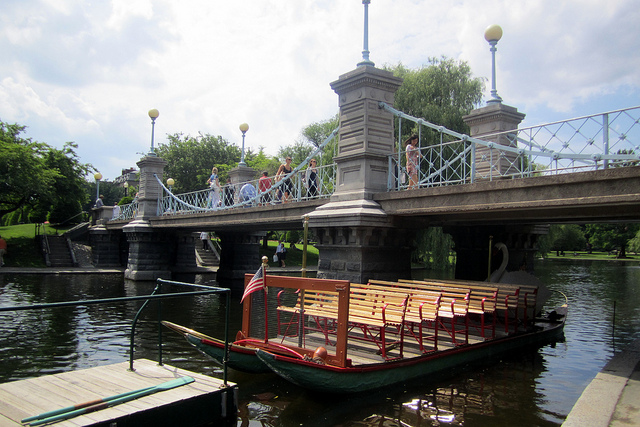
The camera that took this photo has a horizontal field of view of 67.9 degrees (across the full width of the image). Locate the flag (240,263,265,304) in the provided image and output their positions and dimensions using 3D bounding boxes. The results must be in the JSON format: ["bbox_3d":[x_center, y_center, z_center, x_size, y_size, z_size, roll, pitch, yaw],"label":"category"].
[{"bbox_3d":[-1.481,1.533,10.613,0.397,0.842,0.669,4,-4,-14],"label":"flag"}]

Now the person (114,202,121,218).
[{"bbox_3d":[-14.333,-0.112,33.574,0.348,0.869,1.011,5,-4,-27],"label":"person"}]

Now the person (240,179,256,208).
[{"bbox_3d":[-3.099,-0.794,19.604,0.856,1.219,0.550,1,0,33],"label":"person"}]

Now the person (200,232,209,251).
[{"bbox_3d":[-9.028,2.273,37.305,0.604,1.378,1.213,4,-4,-14],"label":"person"}]

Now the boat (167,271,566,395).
[{"bbox_3d":[2.570,3.060,12.414,9.049,2.232,4.296,11,-12,-42],"label":"boat"}]
